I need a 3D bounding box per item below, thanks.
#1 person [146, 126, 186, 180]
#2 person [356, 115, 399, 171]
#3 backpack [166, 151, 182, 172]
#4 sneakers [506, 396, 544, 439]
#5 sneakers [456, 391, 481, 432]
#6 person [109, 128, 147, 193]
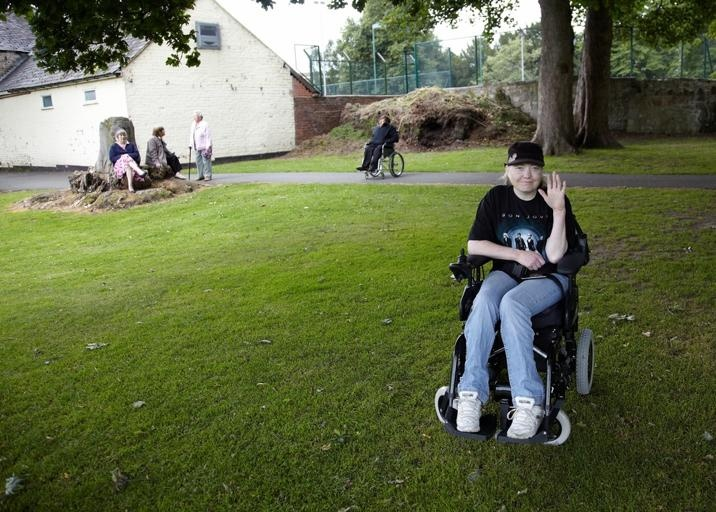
[{"bbox_3d":[-6.777,-3.617,19.102,1.166,1.839,1.018,-2,5,4],"label":"person"},{"bbox_3d":[0.705,-3.709,18.093,1.153,1.833,0.803,-2,13,3],"label":"person"},{"bbox_3d":[-6.598,-3.398,19.562,0.215,0.689,0.529,-46,11,-24],"label":"backpack"},{"bbox_3d":[1.359,1.307,4.402,0.288,0.295,0.231,1,14,16],"label":"sneakers"},{"bbox_3d":[0.915,1.284,4.503,0.189,0.287,0.222,0,14,10],"label":"sneakers"},{"bbox_3d":[-7.486,-3.111,17.698,1.094,1.945,0.856,7,16,34],"label":"person"}]
